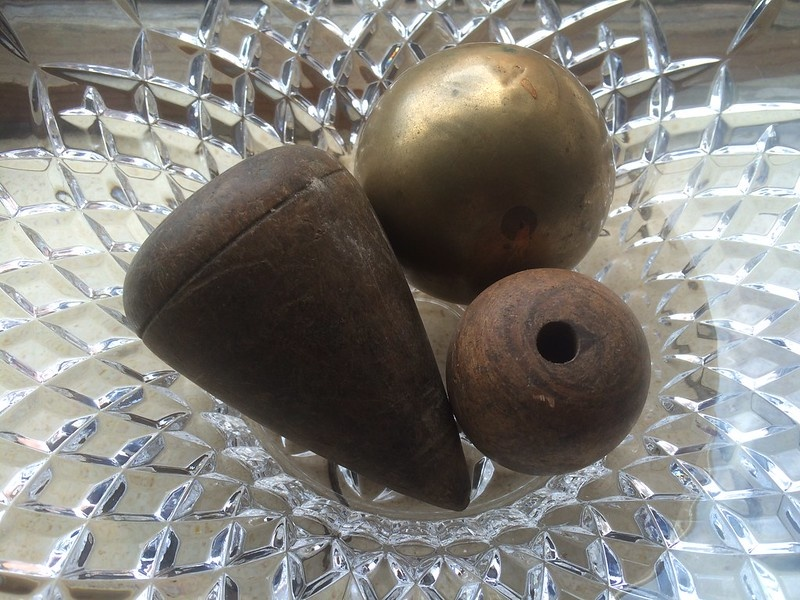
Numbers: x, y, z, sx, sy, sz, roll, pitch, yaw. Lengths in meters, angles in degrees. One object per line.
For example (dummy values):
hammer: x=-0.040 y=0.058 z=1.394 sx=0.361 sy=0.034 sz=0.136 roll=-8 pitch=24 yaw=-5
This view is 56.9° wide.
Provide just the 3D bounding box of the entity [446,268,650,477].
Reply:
entity: x=0.164 y=0.077 z=0.814 sx=0.226 sy=0.164 sz=0.230 roll=13 pitch=67 yaw=9
